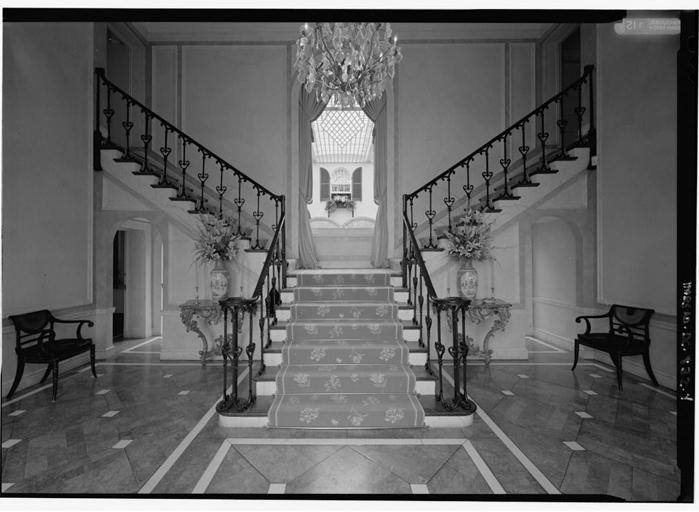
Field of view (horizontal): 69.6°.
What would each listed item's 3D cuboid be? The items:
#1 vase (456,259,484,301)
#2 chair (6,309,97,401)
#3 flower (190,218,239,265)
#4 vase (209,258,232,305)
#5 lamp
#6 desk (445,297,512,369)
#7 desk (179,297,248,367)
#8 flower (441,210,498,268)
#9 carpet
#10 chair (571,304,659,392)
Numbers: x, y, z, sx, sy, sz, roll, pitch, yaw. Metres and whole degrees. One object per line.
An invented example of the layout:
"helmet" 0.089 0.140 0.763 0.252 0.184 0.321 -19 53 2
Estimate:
"vase" 1.834 0.387 7.846 0.342 0.685 0.631 3 14 13
"chair" -3.926 1.118 6.831 0.843 1.329 1.187 1 2 7
"flower" -2.106 -0.217 7.933 0.683 0.928 0.660 -1 7 -13
"vase" -2.001 0.351 7.764 0.311 0.649 0.589 -3 14 -13
"lamp" -0.044 -2.352 6.203 1.205 0.996 1.253 -2 18 -18
"desk" 2.049 1.066 8.039 1.157 1.263 0.960 0 -5 2
"desk" -2.056 1.152 7.822 0.892 0.898 0.636 -5 0 -2
"flower" 1.896 -0.305 7.910 0.733 0.893 0.776 -2 -10 -25
"carpet" -0.064 1.185 6.505 1.719 1.031 2.105 -1 13 -3
"chair" 3.661 1.199 6.951 0.633 1.127 0.992 -2 3 -10
